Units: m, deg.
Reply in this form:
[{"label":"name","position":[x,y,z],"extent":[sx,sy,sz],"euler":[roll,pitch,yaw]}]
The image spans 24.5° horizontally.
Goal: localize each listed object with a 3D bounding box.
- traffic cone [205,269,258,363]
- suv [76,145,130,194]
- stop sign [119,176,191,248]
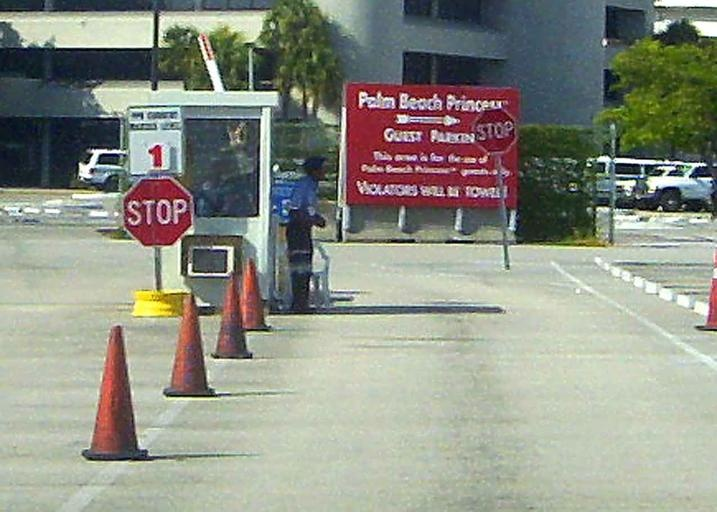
[{"label":"traffic cone","position":[-2.158,1.001,27.517],"extent":[0.567,1.377,0.643],"euler":[0,1,-18]},{"label":"suv","position":[-10.634,-3.742,71.489],"extent":[1.826,1.776,3.812],"euler":[12,12,39]},{"label":"stop sign","position":[-3.619,-0.808,29.843],"extent":[0.823,1.423,0.900],"euler":[-4,11,-3]}]
